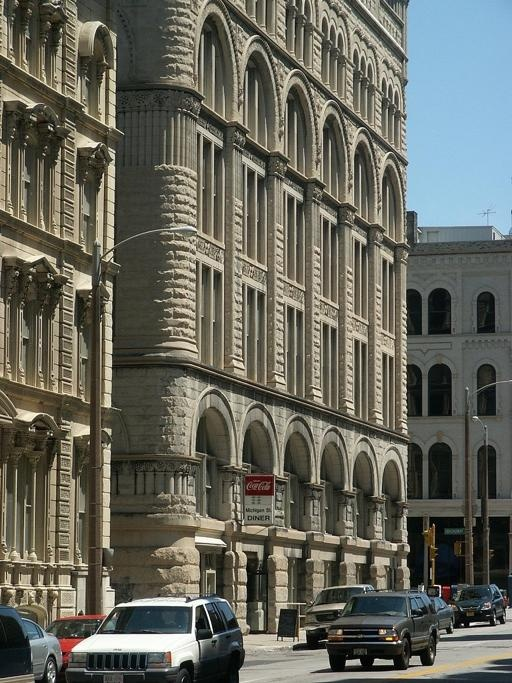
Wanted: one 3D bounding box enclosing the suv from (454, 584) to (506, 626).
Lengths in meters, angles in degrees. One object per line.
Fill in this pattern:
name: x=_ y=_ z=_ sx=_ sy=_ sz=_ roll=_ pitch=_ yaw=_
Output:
suv: x=7.164 y=8.524 z=65.587 sx=1.257 sy=1.427 sz=2.782 roll=-3 pitch=-11 yaw=17
